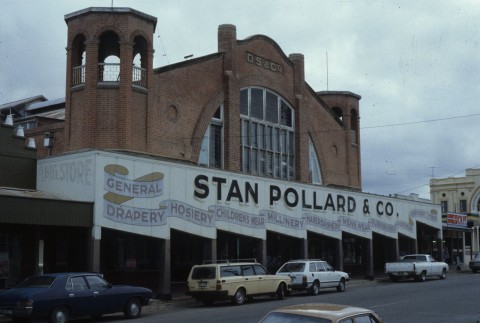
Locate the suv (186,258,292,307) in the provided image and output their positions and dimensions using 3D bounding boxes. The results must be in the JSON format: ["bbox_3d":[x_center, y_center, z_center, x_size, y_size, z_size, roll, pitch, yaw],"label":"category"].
[{"bbox_3d":[-0.038,7.129,41.467,5.455,2.231,2.607,1,-5,-45],"label":"suv"}]

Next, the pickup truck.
[{"bbox_3d":[13.810,8.088,53.504,2.764,2.177,5.996,-8,-10,40],"label":"pickup truck"}]

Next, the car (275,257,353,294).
[{"bbox_3d":[4.860,7.273,44.826,2.067,2.108,5.656,-6,-9,38],"label":"car"}]
